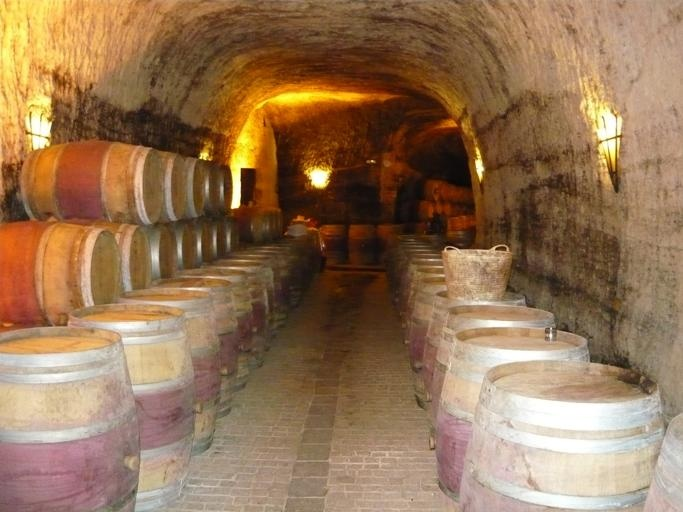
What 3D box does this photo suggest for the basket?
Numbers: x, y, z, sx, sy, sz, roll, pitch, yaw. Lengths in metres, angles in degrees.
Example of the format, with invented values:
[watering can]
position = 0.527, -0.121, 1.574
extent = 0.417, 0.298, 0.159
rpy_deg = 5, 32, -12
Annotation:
[basket]
position = 1.107, 0.153, 4.647
extent = 0.524, 0.378, 0.465
rpy_deg = 1, -2, 0
